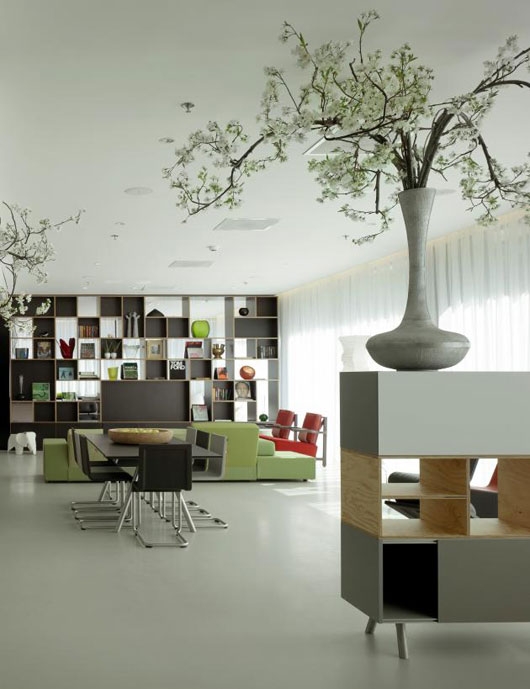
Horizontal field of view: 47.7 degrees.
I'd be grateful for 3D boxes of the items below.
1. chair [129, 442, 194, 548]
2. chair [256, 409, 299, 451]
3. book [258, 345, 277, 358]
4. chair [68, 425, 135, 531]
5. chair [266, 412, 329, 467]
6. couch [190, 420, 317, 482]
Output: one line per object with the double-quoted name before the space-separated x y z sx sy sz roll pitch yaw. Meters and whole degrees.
"chair" -0.959 1.263 5.497 0.510 0.792 1.647 2 -6 -11
"chair" 0.249 1.472 10.471 0.626 0.755 0.665 2 -6 -21
"book" 0.017 0.164 13.166 0.408 0.264 0.222 0 0 -12
"chair" -1.659 1.375 6.056 0.393 0.684 1.056 1 -2 -16
"chair" 0.600 1.541 9.873 0.987 0.840 0.997 3 -8 -12
"couch" -0.074 1.515 8.217 1.228 0.665 1.292 1 -3 -13
